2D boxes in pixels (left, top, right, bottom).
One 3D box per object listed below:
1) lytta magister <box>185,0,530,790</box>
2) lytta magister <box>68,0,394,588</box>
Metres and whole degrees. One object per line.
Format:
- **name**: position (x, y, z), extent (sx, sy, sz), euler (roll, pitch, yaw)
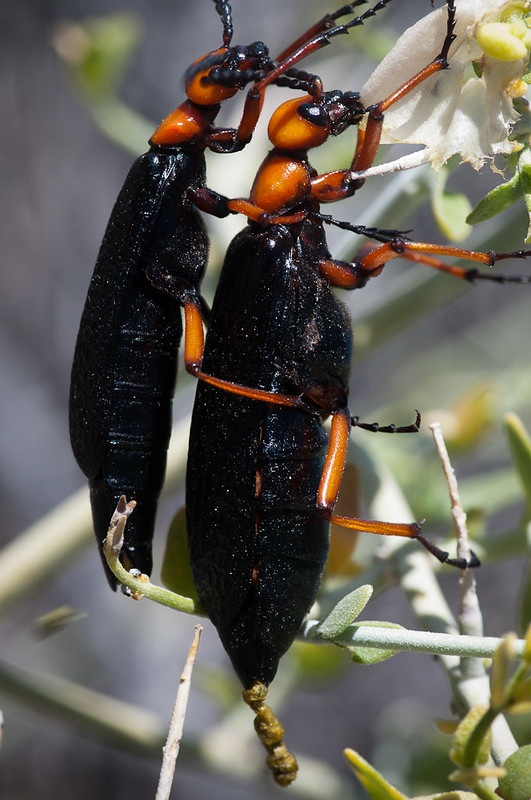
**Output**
- **lytta magister**: position (0.017, -0.016, 0.690), extent (0.154, 0.512, 0.389), euler (2, -2, -9)
- **lytta magister**: position (0.004, -0.068, 0.769), extent (0.149, 0.432, 0.337), euler (9, 7, -21)
